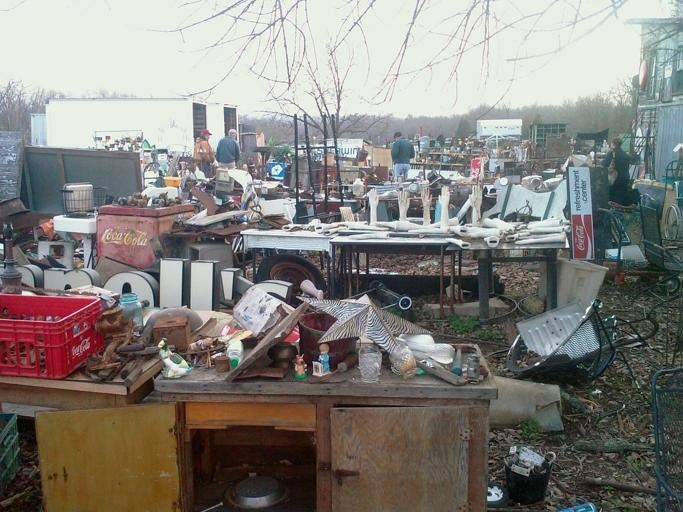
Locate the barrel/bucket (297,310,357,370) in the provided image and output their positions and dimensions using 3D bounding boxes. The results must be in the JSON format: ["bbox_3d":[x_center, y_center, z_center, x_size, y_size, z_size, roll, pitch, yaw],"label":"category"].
[{"bbox_3d":[-0.120,0.570,4.432,0.400,0.369,0.504,3,15,14],"label":"barrel/bucket"}]

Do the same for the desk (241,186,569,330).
[{"bbox_3d":[1.085,-0.068,8.086,3.572,1.695,1.307,3,9,16],"label":"desk"}]

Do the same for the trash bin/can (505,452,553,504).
[{"bbox_3d":[1.492,1.791,4.967,0.383,0.374,0.321,1,-6,0],"label":"trash bin/can"}]
